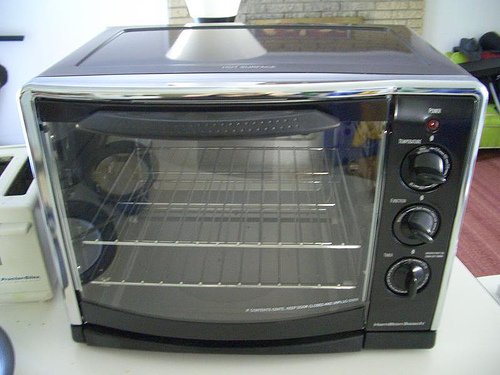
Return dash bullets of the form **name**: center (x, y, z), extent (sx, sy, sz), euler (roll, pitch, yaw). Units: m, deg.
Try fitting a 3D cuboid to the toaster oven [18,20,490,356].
- **toaster oven**: center (0.033, 0.108, 0.970), extent (0.739, 0.449, 0.481), euler (-2, 14, -5)
